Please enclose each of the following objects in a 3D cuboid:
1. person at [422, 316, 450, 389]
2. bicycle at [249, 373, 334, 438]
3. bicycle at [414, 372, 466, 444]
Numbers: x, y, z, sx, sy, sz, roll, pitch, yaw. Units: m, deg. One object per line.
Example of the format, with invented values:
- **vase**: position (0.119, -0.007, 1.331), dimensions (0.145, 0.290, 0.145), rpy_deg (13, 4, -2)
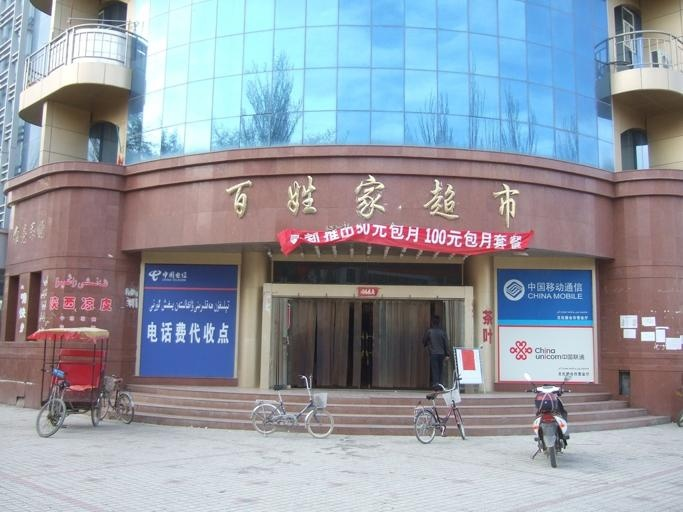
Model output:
- **person**: position (2.683, 2.765, 16.280), dimensions (0.679, 2.050, 0.594), rpy_deg (-1, -2, 5)
- **bicycle**: position (-1.116, 3.490, 13.168), dimensions (2.051, 1.556, 1.080), rpy_deg (-2, -10, 7)
- **bicycle**: position (2.256, 3.477, 13.028), dimensions (1.017, 1.314, 2.198), rpy_deg (-3, -9, 13)
